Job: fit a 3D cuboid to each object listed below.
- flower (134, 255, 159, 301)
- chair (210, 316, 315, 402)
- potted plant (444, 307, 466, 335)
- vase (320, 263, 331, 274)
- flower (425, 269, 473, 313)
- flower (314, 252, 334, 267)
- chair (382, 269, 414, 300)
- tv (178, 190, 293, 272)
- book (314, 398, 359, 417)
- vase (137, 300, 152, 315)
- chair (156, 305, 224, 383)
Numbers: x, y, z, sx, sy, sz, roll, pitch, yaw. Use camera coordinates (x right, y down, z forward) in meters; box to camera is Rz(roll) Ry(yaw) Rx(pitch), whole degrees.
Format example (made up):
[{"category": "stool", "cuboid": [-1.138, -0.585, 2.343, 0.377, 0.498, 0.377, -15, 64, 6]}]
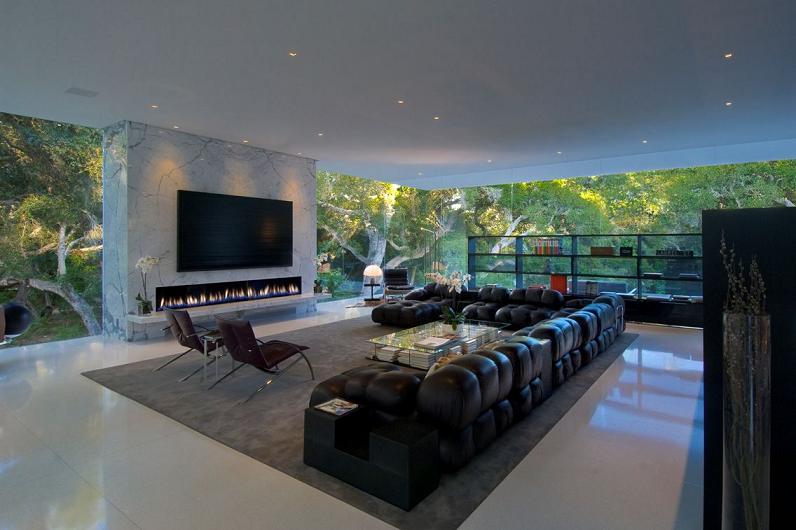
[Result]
[{"category": "flower", "cuboid": [-4.525, 0.217, 8.076, 0.388, 0.830, 0.307, -11, 18, -37]}, {"category": "chair", "cuboid": [-1.803, 1.133, 5.951, 0.893, 0.960, 1.155, 2, 5, 24]}, {"category": "potted plant", "cuboid": [0.835, 0.833, 6.733, 0.366, 0.313, 0.371, 0, -1, 42]}, {"category": "vase", "cuboid": [-1.778, 0.069, 11.021, 0.256, 0.160, 0.253, -3, 2, -33]}, {"category": "flower", "cuboid": [1.084, 0.561, 9.286, 0.678, 0.922, 0.878, -3, 4, -23]}, {"category": "flower", "cuboid": [-2.008, -0.157, 12.128, 0.454, 0.346, 0.469, -4, 3, -15]}, {"category": "chair", "cuboid": [-0.021, 0.471, 12.528, 0.713, 0.810, 0.877, 0, -2, -7]}, {"category": "tv", "cuboid": [-3.459, -0.723, 9.171, 0.117, 1.103, 1.862, 5, 5, 41]}, {"category": "book", "cuboid": [-0.579, 1.335, 4.193, 0.329, 0.033, 0.297, 10, 16, 37]}, {"category": "vase", "cuboid": [-4.485, 0.727, 7.866, 0.272, 0.269, 0.211, 2, 2, 39]}, {"category": "chair", "cuboid": [-3.018, 1.081, 6.365, 0.896, 1.033, 1.174, 1, -4, 39]}]
